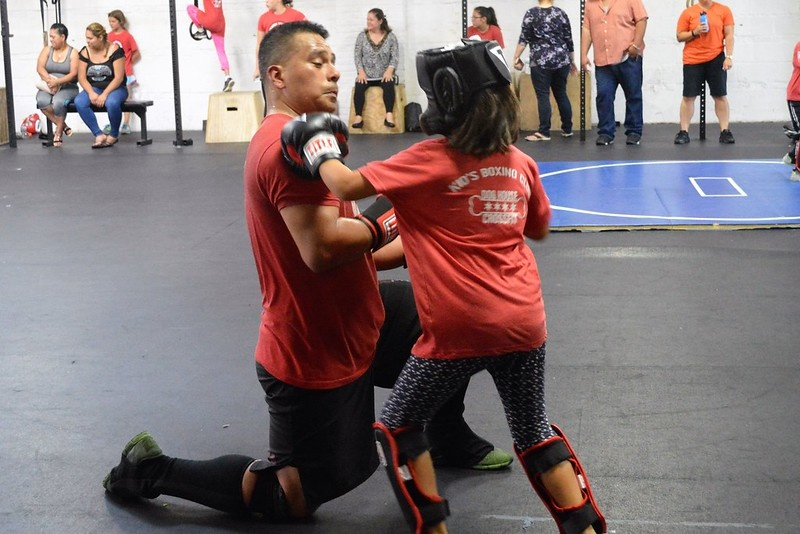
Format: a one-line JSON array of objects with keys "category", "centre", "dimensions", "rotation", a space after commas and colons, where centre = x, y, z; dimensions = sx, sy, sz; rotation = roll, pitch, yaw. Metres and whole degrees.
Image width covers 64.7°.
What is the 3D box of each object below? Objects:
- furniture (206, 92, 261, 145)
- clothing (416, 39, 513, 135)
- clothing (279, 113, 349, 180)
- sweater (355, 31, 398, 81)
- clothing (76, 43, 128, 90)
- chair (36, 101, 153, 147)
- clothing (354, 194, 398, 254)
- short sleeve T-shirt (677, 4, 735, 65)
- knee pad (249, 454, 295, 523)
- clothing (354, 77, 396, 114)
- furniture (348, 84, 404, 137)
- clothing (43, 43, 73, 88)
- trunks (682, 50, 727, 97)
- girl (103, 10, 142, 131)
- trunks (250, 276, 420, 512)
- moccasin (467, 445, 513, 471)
[{"category": "furniture", "centre": [-2.791, -2.654, 11.573], "dimensions": [1.354, 0.769, 1.318], "rotation": [-3, 1, -6]}, {"category": "clothing", "centre": [0.186, -0.550, 2.031], "dimensions": [0.301, 0.279, 0.275], "rotation": [3, 8, 24]}, {"category": "clothing", "centre": [-0.257, -0.381, 1.899], "dimensions": [0.173, 0.102, 0.229], "rotation": [1, 34, -10]}, {"category": "sweater", "centre": [-0.430, -3.846, 11.444], "dimensions": [0.798, 0.857, 0.538], "rotation": [-1, 27, -3]}, {"category": "clothing", "centre": [-5.234, -3.490, 11.070], "dimensions": [0.857, 0.799, 0.452], "rotation": [-6, 25, -9]}, {"category": "chair", "centre": [-5.171, -2.507, 10.940], "dimensions": [1.620, 0.657, 0.492], "rotation": [2, 12, -2]}, {"category": "clothing", "centre": [-0.078, -0.140, 2.086], "dimensions": [0.118, 0.126, 0.170], "rotation": [-18, 28, 42]}, {"category": "short sleeve T-shirt", "centre": [4.404, -3.382, 9.117], "dimensions": [0.711, 0.876, 0.456], "rotation": [0, 7, 19]}, {"category": "knee pad", "centre": [-0.448, 0.774, 2.241], "dimensions": [0.215, 0.160, 0.156], "rotation": [4, 4, 16]}, {"category": "clothing", "centre": [-0.464, -3.123, 11.389], "dimensions": [0.636, 0.632, 0.651], "rotation": [0, 8, -3]}, {"category": "furniture", "centre": [-0.389, -2.818, 11.234], "dimensions": [0.959, 0.760, 0.945], "rotation": [0, 1, 4]}, {"category": "clothing", "centre": [-5.992, -3.585, 11.066], "dimensions": [0.520, 0.518, 0.159], "rotation": [-1, 6, 8]}, {"category": "trunks", "centre": [4.460, -2.845, 9.220], "dimensions": [0.679, 0.651, 0.377], "rotation": [1, 11, 9]}, {"category": "girl", "centre": [-5.529, -3.992, 12.490], "dimensions": [0.712, 2.027, 0.737], "rotation": [17, 36, 13]}, {"category": "trunks", "centre": [-0.184, 0.412, 2.387], "dimensions": [0.562, 0.750, 0.413], "rotation": [5, 1, 5]}, {"category": "moccasin", "centre": [0.361, 0.750, 2.506], "dimensions": [0.159, 0.071, 0.075], "rotation": [-8, -1, 1]}]
